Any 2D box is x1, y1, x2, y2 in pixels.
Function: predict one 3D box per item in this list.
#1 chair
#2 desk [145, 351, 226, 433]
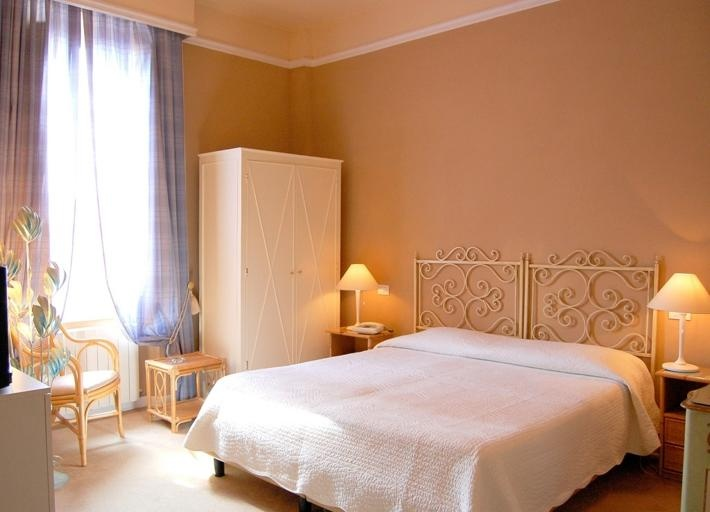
[{"bbox_3d":[-2.405,1.037,4.675,0.737,1.152,0.671,1,3,7],"label":"chair"},{"bbox_3d":[-1.679,1.213,5.383,0.604,0.699,0.785,2,3,37],"label":"desk"}]
